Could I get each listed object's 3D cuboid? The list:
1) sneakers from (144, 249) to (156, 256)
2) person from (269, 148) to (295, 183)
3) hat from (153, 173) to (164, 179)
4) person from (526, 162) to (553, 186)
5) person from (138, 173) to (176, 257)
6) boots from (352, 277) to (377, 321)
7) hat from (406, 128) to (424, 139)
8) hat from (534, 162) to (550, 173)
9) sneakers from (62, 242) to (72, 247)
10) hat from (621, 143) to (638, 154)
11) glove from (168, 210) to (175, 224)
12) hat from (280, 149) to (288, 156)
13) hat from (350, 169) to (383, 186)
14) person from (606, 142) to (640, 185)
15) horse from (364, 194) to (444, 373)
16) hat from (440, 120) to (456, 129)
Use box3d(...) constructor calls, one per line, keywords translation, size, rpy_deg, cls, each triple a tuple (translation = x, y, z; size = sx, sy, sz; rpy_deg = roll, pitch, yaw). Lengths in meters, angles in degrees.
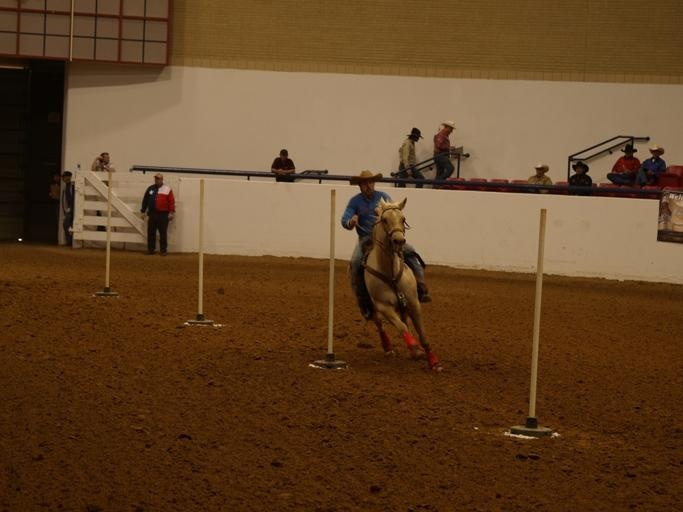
box3d(translation=(-5.810, -0.079, 30.220), size=(0.266, 0.218, 0.107), rpy_deg=(9, -4, -10), cls="sneakers")
box3d(translation=(-1.791, -2.774, 31.275), size=(0.723, 0.921, 1.076), rpy_deg=(2, 12, -5), cls="person")
box3d(translation=(-5.545, -2.368, 30.219), size=(0.254, 0.139, 0.403), rpy_deg=(1, 2, -17), cls="hat")
box3d(translation=(6.181, -2.499, 31.173), size=(0.450, 0.734, 0.844), rpy_deg=(15, -11, -43), cls="person")
box3d(translation=(-5.501, -1.217, 29.976), size=(0.953, 2.412, 0.582), rpy_deg=(2, 11, -9), cls="person")
box3d(translation=(0.395, 0.908, 18.372), size=(0.254, 0.639, 1.124), rpy_deg=(-15, -12, 11), cls="boots")
box3d(translation=(2.395, -3.810, 31.895), size=(0.384, 0.187, 0.451), rpy_deg=(14, -15, 22), cls="hat")
box3d(translation=(6.088, -2.690, 30.306), size=(0.415, 0.200, 0.535), rpy_deg=(3, -7, 23), cls="hat")
box3d(translation=(-8.889, -0.339, 32.404), size=(0.383, 0.228, 0.102), rpy_deg=(-6, -3, 45), cls="sneakers")
box3d(translation=(9.079, -3.323, 31.521), size=(0.446, 0.225, 0.556), rpy_deg=(-12, -3, 26), cls="hat")
box3d(translation=(-5.128, -1.160, 30.195), size=(0.214, 0.256, 0.270), rpy_deg=(2, -17, -3), cls="glove")
box3d(translation=(-1.795, -3.173, 31.434), size=(0.206, 0.275, 0.265), rpy_deg=(1, 2, -3), cls="hat")
box3d(translation=(0.438, -1.366, 17.861), size=(0.497, 0.283, 0.570), rpy_deg=(5, 12, 6), cls="hat")
box3d(translation=(8.631, -2.673, 30.294), size=(0.871, 1.402, 0.883), rpy_deg=(6, -2, -39), cls="person")
box3d(translation=(1.013, 0.466, 17.403), size=(1.349, 2.925, 1.285), rpy_deg=(4, 11, 5), cls="horse")
box3d(translation=(3.418, -4.129, 32.064), size=(0.319, 0.101, 0.335), rpy_deg=(16, 4, -36), cls="hat")
